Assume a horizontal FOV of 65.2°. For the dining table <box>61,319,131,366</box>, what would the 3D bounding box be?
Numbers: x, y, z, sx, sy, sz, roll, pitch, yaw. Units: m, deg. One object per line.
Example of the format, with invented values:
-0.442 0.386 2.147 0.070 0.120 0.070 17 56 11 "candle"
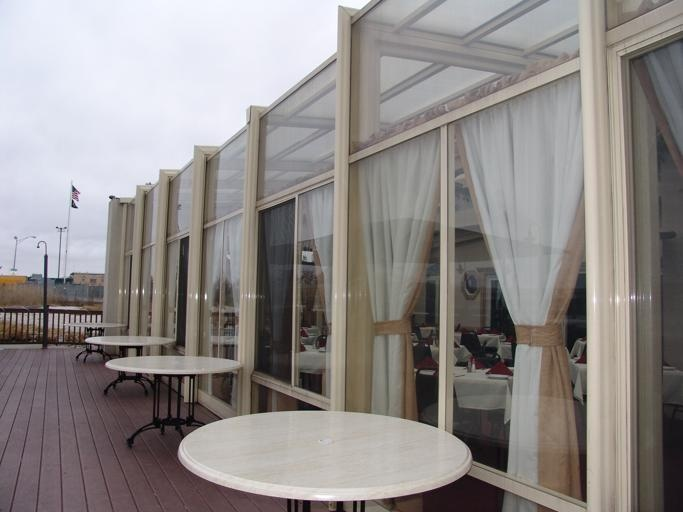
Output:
-5.065 1.795 11.021 0.939 0.625 1.031 3 -9 -12 "dining table"
